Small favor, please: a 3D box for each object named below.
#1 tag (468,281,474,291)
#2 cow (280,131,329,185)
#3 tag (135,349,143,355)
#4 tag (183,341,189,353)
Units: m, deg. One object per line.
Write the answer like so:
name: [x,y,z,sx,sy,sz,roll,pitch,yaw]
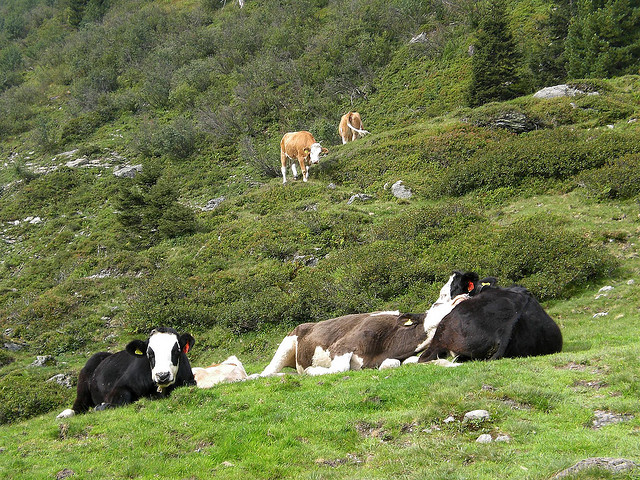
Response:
tag: [7.414,2.265,34.614,0.240,0.405,0.154,-4,-6,14]
cow: [-1.694,-7.363,62.772,2.134,4.458,7.433,-6,7,-24]
tag: [-8.809,5.447,34.345,0.325,0.241,0.029,-12,5,-5]
tag: [-6.590,5.347,34.912,0.229,0.475,0.392,17,-6,-20]
